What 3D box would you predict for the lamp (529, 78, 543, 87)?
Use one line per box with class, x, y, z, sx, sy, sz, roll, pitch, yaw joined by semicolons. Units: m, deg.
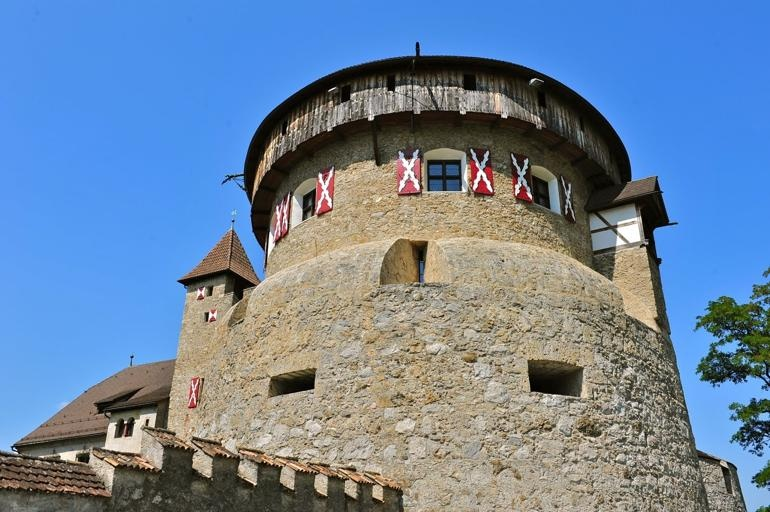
lamp;4.694;-5.454;22.913;0.309;0.083;0.345;-8;-19;26
